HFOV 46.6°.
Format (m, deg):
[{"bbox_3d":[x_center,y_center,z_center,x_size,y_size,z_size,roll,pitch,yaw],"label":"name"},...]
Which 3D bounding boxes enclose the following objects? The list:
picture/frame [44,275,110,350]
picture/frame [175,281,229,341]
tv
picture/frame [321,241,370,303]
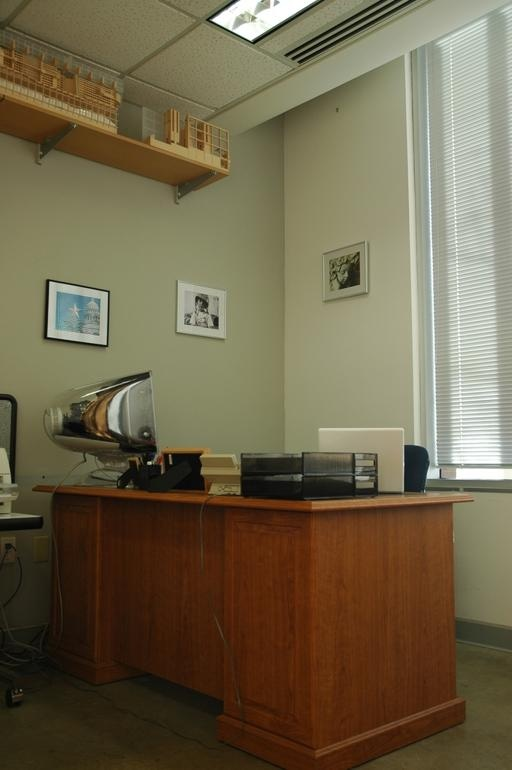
[{"bbox_3d":[-0.971,-0.385,3.185,0.025,0.347,0.359,-8,-11,42],"label":"picture/frame"},{"bbox_3d":[-0.365,-0.476,3.832,0.014,0.317,0.356,-6,-8,40],"label":"picture/frame"},{"bbox_3d":[-0.680,0.202,2.816,0.462,0.461,0.503,0,-11,9],"label":"tv"},{"bbox_3d":[0.601,-0.747,3.933,0.040,0.393,0.404,0,-2,-33],"label":"picture/frame"}]
